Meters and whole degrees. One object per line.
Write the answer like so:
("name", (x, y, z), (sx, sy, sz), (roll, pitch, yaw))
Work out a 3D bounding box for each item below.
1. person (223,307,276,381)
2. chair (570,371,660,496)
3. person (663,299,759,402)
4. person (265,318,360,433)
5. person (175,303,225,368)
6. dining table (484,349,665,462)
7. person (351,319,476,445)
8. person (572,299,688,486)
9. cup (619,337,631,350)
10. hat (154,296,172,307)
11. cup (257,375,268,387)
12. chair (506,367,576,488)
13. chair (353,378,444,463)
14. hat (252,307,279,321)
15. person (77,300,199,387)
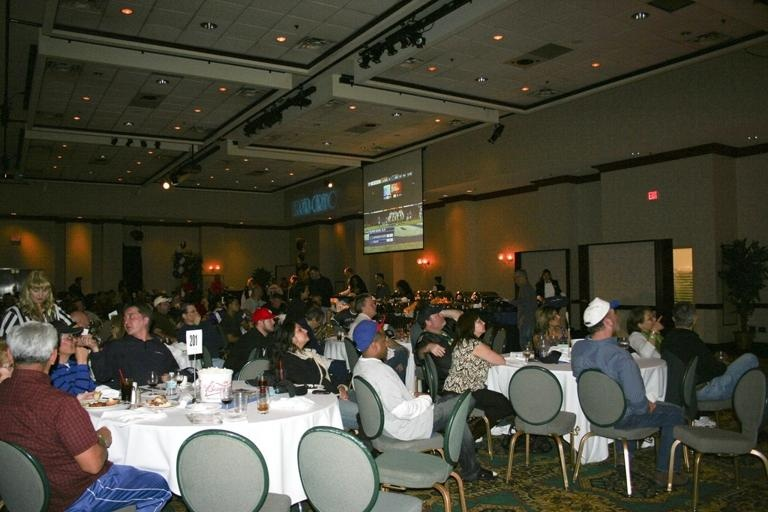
("person", (-1.844, 1.441, 8.179), (0.513, 1.487, 0.484), (0, 19, -27))
("chair", (2.690, 1.934, 6.718), (0.888, 1.260, 0.792), (2, -2, -39))
("person", (4.078, 1.279, 7.564), (1.177, 1.442, 1.078), (-5, 7, 3))
("person", (-0.773, 1.403, 6.831), (1.104, 1.200, 0.756), (-3, 3, 13))
("person", (-2.699, 1.203, 8.611), (0.531, 1.189, 0.531), (-31, -40, 20))
("dining table", (2.190, 1.746, 7.614), (1.479, 0.786, 1.452), (-1, 0, 2))
("person", (0.284, 1.409, 6.487), (1.139, 1.730, 0.874), (-15, 16, -25))
("person", (2.926, 1.629, 6.927), (1.377, 2.229, 1.000), (-3, 6, -24))
("cup", (3.193, 1.163, 7.686), (0.138, 0.176, 0.183), (-8, -36, 25))
("hat", (-3.870, 0.793, 10.058), (0.275, 0.156, 0.216), (-24, -6, 28))
("cup", (-1.236, 1.281, 5.957), (0.096, 0.089, 0.095), (-2, -9, 0))
("chair", (1.804, 1.945, 6.709), (0.828, 1.370, 0.435), (-4, -4, 12))
("chair", (0.171, 1.894, 6.411), (0.947, 1.141, 0.805), (-2, -1, -19))
("hat", (-1.638, 0.804, 8.119), (0.306, 0.170, 0.213), (0, 2, -17))
("person", (-3.043, 1.111, 7.255), (0.879, 0.468, 1.194), (-7, 36, -38))
